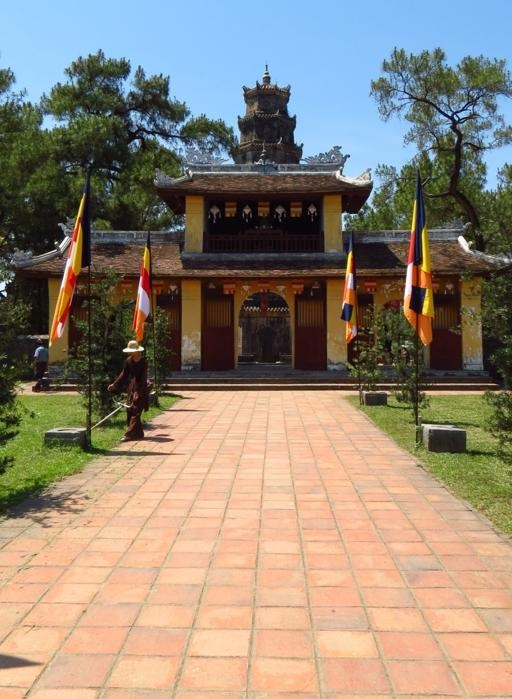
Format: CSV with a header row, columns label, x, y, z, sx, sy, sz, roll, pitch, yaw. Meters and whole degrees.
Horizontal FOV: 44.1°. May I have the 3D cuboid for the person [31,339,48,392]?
label,x,y,z,sx,sy,sz,roll,pitch,yaw
person,-5.943,0.526,17.447,0.329,1.273,0.924,2,-3,-20

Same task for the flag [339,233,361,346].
label,x,y,z,sx,sy,sz,roll,pitch,yaw
flag,1.965,-1.319,13.219,0.361,2.332,0.263,-3,8,-24

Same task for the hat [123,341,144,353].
label,x,y,z,sx,sy,sz,roll,pitch,yaw
hat,-1.822,-0.076,9.377,0.240,0.126,0.248,-3,-9,-3

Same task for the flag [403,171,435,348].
label,x,y,z,sx,sy,sz,roll,pitch,yaw
flag,2.400,-1.408,9.435,0.405,2.637,0.701,1,-3,13

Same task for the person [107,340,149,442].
label,x,y,z,sx,sy,sz,roll,pitch,yaw
person,-1.913,0.601,9.613,0.555,1.461,1.245,2,-3,-10
